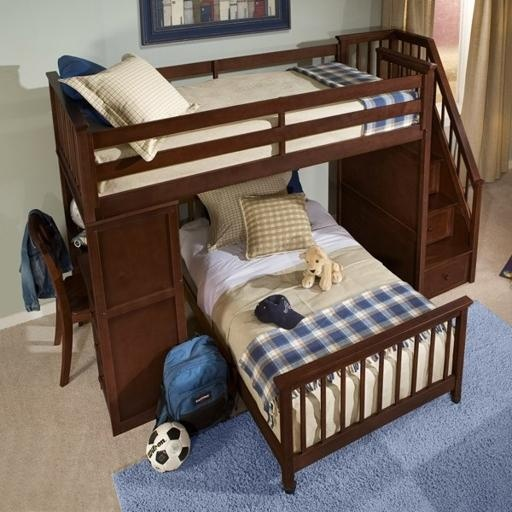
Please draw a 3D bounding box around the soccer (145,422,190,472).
[{"bbox_3d":[-0.463,1.024,2.600,0.163,0.203,0.160,22,0,11],"label":"soccer"}]

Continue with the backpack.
[{"bbox_3d":[-0.349,0.761,2.866,0.501,0.567,0.321,-19,44,-22],"label":"backpack"}]

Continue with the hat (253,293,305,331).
[{"bbox_3d":[0.128,0.324,2.788,0.239,0.086,0.165,23,49,35],"label":"hat"}]

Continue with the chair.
[{"bbox_3d":[-1.274,0.284,3.201,0.586,0.954,0.547,-10,47,-17],"label":"chair"}]

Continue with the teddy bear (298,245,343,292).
[{"bbox_3d":[0.422,0.037,3.120,0.233,0.287,0.323,13,31,36],"label":"teddy bear"}]

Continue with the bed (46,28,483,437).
[{"bbox_3d":[0.168,-0.403,3.368,2.599,1.890,1.200,-17,36,-15],"label":"bed"}]

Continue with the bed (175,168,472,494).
[{"bbox_3d":[0.292,0.186,3.270,1.176,1.081,1.983,-18,28,-18],"label":"bed"}]
